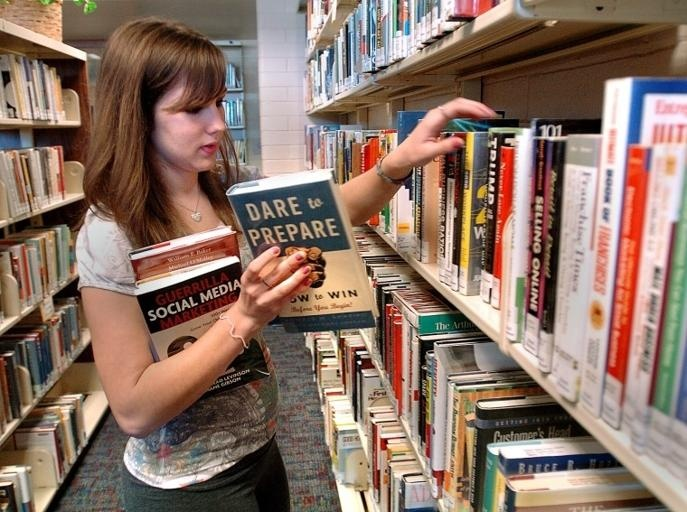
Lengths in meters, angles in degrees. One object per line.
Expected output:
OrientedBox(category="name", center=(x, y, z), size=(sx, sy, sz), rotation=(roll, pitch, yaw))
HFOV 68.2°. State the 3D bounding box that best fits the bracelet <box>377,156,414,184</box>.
OrientedBox(category="bracelet", center=(0.148, -0.239, 1.466), size=(0.091, 0.071, 0.027), rotation=(2, 17, -2))
